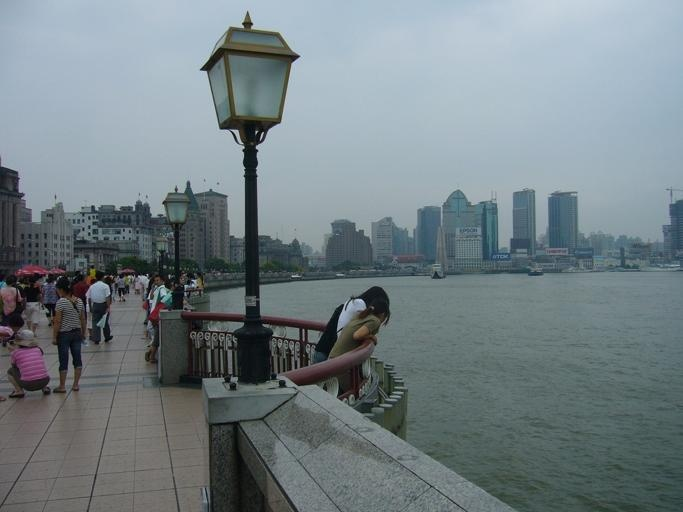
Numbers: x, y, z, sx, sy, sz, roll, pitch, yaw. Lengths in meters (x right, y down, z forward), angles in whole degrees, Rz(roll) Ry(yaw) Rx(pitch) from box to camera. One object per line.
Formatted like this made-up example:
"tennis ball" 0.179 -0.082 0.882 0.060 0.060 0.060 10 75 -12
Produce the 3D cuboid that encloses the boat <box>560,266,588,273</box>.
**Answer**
"boat" 104.582 6.216 301.786 11.759 2.354 26.555 -1 1 19

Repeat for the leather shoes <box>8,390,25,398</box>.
"leather shoes" -6.134 2.607 12.690 0.273 0.145 0.267 -2 0 -14

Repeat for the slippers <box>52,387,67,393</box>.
"slippers" -5.467 2.609 13.061 0.238 0.104 0.108 1 3 7

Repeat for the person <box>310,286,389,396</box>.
"person" 0.097 0.963 9.288 1.035 1.367 1.030 -1 0 15

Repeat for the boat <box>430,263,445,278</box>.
"boat" 34.707 5.232 243.997 3.621 4.961 40.431 -1 1 9

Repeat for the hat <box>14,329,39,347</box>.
"hat" -6.108 1.615 12.872 0.569 0.225 0.449 8 5 42

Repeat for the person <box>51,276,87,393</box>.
"person" -5.428 1.529 13.424 0.598 2.286 0.887 -1 0 -22
